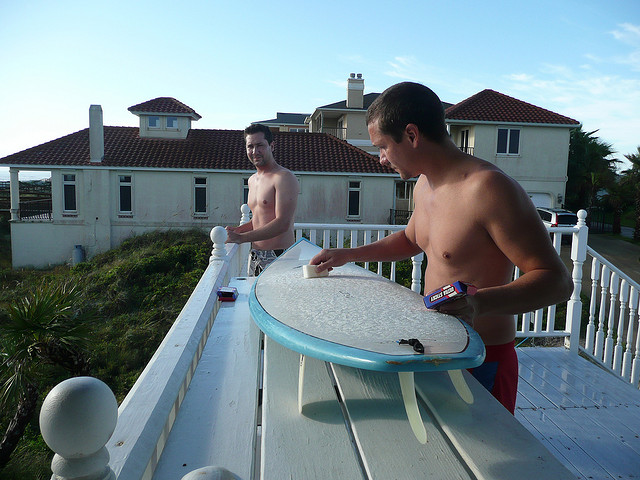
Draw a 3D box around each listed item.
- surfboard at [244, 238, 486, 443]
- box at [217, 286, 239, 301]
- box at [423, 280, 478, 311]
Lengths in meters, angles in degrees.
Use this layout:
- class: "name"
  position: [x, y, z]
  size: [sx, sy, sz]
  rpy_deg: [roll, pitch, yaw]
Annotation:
- class: "surfboard"
  position: [0.088, 0.426, 2.180]
  size: [0.868, 0.531, 1.482]
  rpy_deg: [1, 3, -11]
- class: "box"
  position: [-0.798, 0.459, 3.715]
  size: [0.165, 0.107, 0.129]
  rpy_deg: [0, 3, -17]
- class: "box"
  position: [0.539, 0.215, 1.902]
  size: [0.199, 0.130, 0.235]
  rpy_deg: [7, 6, 0]
